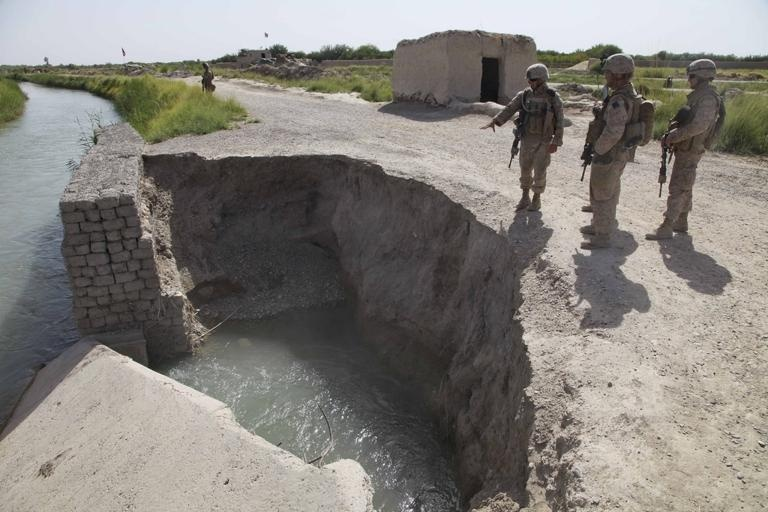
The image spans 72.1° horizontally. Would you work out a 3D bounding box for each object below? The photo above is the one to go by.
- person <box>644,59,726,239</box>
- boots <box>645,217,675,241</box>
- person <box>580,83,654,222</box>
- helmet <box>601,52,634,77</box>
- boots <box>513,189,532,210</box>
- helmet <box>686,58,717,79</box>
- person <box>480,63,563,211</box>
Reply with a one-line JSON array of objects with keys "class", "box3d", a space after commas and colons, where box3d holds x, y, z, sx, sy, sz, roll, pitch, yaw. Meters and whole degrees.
[{"class": "person", "box3d": [4.253, -1.459, 7.415, 0.664, 2.368, 1.064, 14, 30, 30]}, {"class": "boots", "box3d": [3.930, -0.412, 7.688, 0.487, 0.352, 0.202, 9, 32, 21]}, {"class": "person", "box3d": [3.243, -1.469, 7.292, 0.782, 1.766, 0.748, -4, 26, -4]}, {"class": "helmet", "box3d": [3.163, -2.589, 7.118, 0.367, 0.260, 0.355, 17, 32, 33]}, {"class": "boots", "box3d": [2.248, -0.906, 8.393, 0.354, 0.343, 0.167, -4, 36, 26]}, {"class": "helmet", "box3d": [4.388, -2.561, 7.323, 0.280, 0.283, 0.363, -3, 30, -18]}, {"class": "person", "box3d": [2.278, -1.813, 8.158, 1.000, 2.147, 0.733, 15, 30, 30]}]
